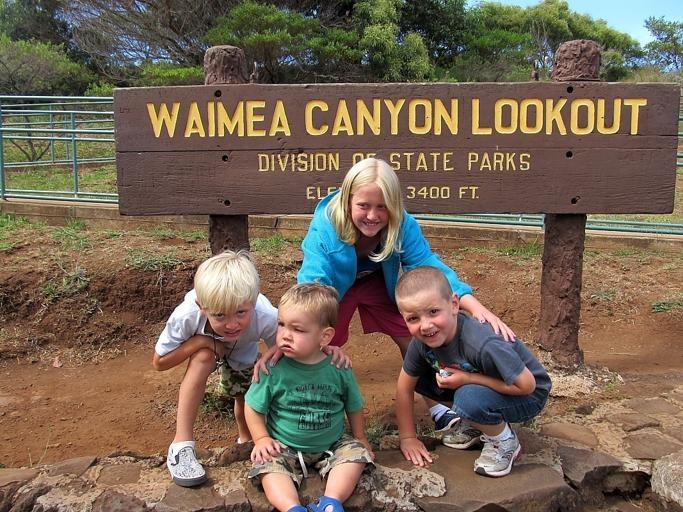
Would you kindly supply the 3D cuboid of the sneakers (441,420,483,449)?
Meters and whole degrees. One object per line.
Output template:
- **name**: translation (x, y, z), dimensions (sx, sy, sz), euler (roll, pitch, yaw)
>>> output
- **sneakers**: translation (0.688, 1.027, 3.052), dimensions (0.267, 0.119, 0.114), euler (0, 0, 9)

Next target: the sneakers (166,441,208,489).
- **sneakers**: translation (-0.814, 1.063, 2.730), dimensions (0.160, 0.176, 0.252), euler (-7, 9, -36)

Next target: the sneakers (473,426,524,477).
- **sneakers**: translation (0.834, 1.033, 2.814), dimensions (0.162, 0.201, 0.437), euler (-8, -1, 39)

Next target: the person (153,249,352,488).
- **person**: translation (-0.587, 0.579, 2.975), dimensions (0.930, 1.140, 0.905), euler (7, 3, 24)

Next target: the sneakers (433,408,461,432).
- **sneakers**: translation (0.621, 0.984, 3.171), dimensions (0.093, 0.103, 0.247), euler (-14, -12, -31)

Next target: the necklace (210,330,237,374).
- **necklace**: translation (-0.664, 0.575, 3.068), dimensions (0.145, 0.194, 0.179), euler (2, -4, -7)

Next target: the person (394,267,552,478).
- **person**: translation (0.716, 0.600, 2.905), dimensions (0.849, 1.000, 0.711), euler (-2, -2, -1)
